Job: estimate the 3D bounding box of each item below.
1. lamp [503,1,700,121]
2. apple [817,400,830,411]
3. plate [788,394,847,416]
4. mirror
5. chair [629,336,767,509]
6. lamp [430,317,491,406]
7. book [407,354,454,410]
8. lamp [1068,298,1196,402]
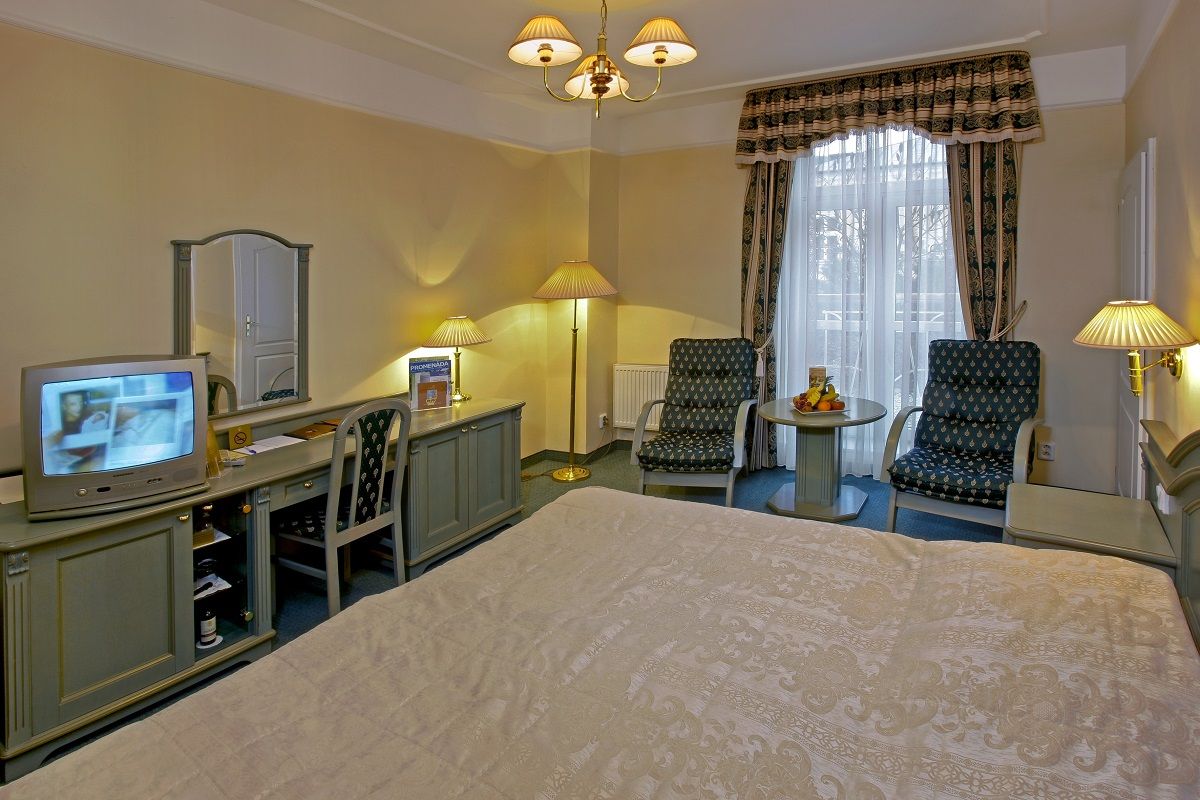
[{"bbox_3d":[-0.011,-2.090,4.783,0.855,0.773,0.782,0,10,0],"label":"lamp"},{"bbox_3d":[1.507,0.045,5.225,0.054,0.059,0.056,-9,-11,26],"label":"apple"},{"bbox_3d":[1.489,0.040,5.262,0.360,0.098,0.228,1,9,14],"label":"plate"},{"bbox_3d":[-1.987,-0.428,4.221,0.146,1.350,1.081,1,2,28],"label":"mirror"},{"bbox_3d":[0.620,0.088,5.954,0.831,1.299,1.235,0,0,16],"label":"chair"},{"bbox_3d":[-0.993,-0.268,5.491,0.517,0.730,0.538,0,0,-1],"label":"lamp"},{"bbox_3d":[-1.125,-0.099,5.111,0.114,0.339,0.337,-1,0,36],"label":"book"},{"bbox_3d":[2.720,-0.249,3.853,0.795,0.470,0.471,-9,11,-41],"label":"lamp"}]
